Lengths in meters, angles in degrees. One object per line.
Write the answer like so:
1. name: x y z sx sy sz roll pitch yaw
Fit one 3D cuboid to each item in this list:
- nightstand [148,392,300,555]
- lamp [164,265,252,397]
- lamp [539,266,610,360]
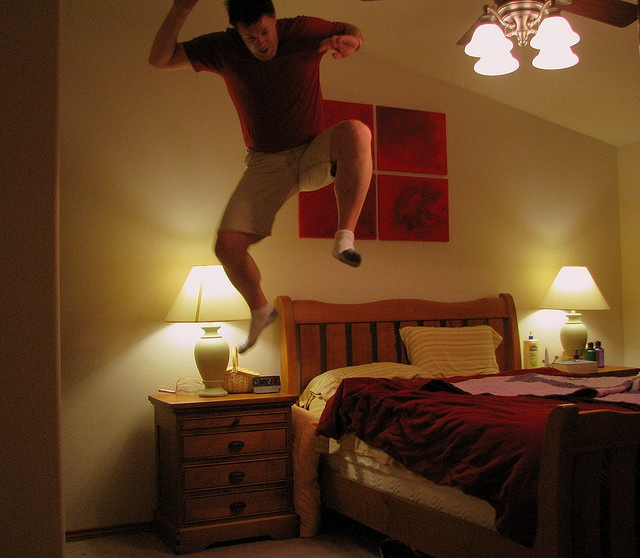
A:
1. nightstand: -0.530 0.937 3.380 0.958 1.020 0.672 1 -7 -24
2. lamp: -0.618 0.279 3.310 0.410 0.641 0.411 -2 2 19
3. lamp: 1.935 0.261 4.517 0.499 0.729 0.490 3 -4 -45
